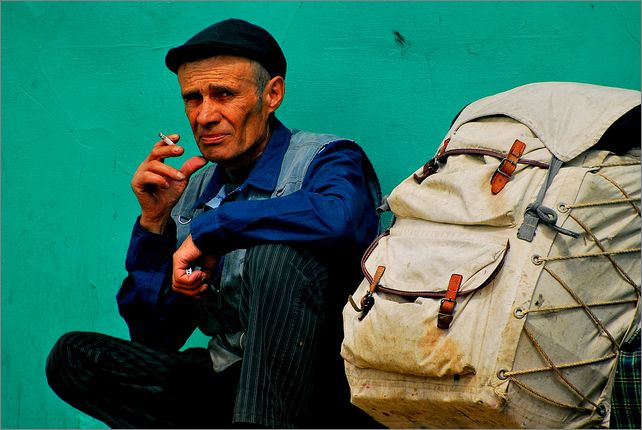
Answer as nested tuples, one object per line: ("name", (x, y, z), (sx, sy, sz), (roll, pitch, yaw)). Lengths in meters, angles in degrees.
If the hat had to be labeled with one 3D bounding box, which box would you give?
("hat", (-0.438, -0.796, 3.900), (0.586, 0.216, 0.475), (3, -4, -25))
